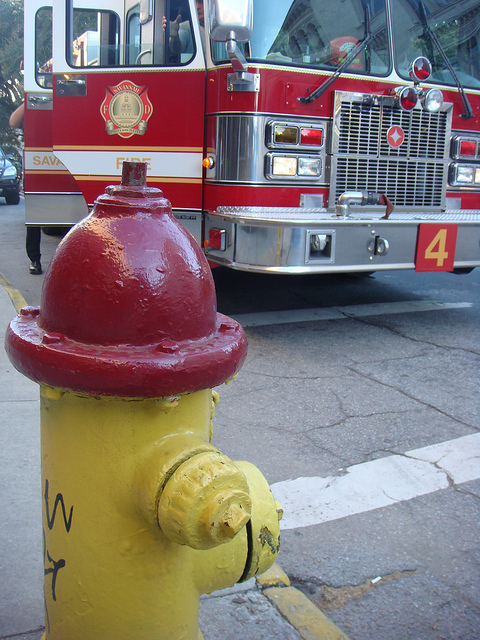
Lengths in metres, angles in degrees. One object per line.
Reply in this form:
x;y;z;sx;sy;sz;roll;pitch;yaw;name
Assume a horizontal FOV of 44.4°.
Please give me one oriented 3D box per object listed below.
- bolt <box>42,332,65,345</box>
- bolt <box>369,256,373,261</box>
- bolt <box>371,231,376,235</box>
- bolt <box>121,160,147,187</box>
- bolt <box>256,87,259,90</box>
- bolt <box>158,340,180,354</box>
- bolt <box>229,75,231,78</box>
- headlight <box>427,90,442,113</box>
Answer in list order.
-0.329;0.032;1.028;0.041;0.010;0.042;-6;13;-37;bolt
0.972;-0.458;4.350;0.030;0.017;0.026;2;-11;13;bolt
0.978;-0.644;4.321;0.036;0.029;0.008;-1;-1;-6;bolt
-0.202;-0.277;1.110;0.060;0.054;0.056;0;10;-15;bolt
0.120;-1.701;4.304;0.023;0.018;0.008;3;14;31;bolt
-0.124;0.045;1.003;0.025;0.008;0.025;1;19;-12;bolt
-0.079;-1.807;4.345;0.017;0.017;0.004;12;16;42;bolt
1.669;-1.877;5.039;0.182;0.156;0.048;-6;15;-33;headlight
